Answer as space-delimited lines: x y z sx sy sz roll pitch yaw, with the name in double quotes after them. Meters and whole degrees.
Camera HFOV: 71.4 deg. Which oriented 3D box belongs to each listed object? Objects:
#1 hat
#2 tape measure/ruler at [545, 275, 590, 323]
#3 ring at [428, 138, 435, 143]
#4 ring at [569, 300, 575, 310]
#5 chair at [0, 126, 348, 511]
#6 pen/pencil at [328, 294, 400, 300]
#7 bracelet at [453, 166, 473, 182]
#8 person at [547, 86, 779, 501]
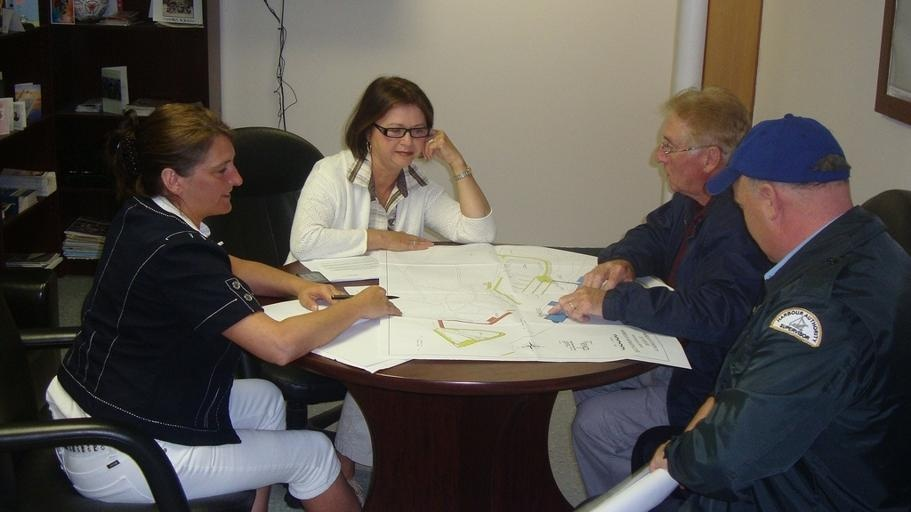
1.050 -0.325 2.038 0.344 0.181 0.236 8 15 26 "hat"
0.420 0.173 2.425 0.102 0.046 0.208 24 43 25 "tape measure/ruler"
-0.125 -0.567 3.138 0.025 0.023 0.006 -1 -25 2 "ring"
0.437 0.185 2.379 0.026 0.006 0.024 0 42 3 "ring"
-1.091 0.138 2.978 1.576 1.863 0.932 -6 18 -26 "chair"
-0.351 0.152 2.360 0.290 0.022 0.022 1 6 -16 "pen/pencil"
0.037 -0.415 3.214 0.084 0.080 0.054 -11 6 7 "bracelet"
0.970 0.343 2.801 1.101 2.013 0.894 -7 12 2 "person"
